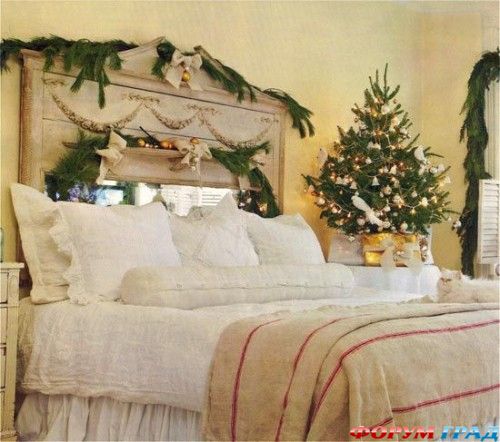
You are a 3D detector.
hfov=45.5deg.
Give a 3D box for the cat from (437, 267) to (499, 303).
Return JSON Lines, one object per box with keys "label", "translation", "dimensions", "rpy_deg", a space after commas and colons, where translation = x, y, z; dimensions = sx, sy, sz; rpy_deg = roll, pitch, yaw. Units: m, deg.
{"label": "cat", "translation": [0.982, 0.281, 2.688], "dimensions": [0.238, 0.118, 0.150], "rpy_deg": [5, -8, 0]}
